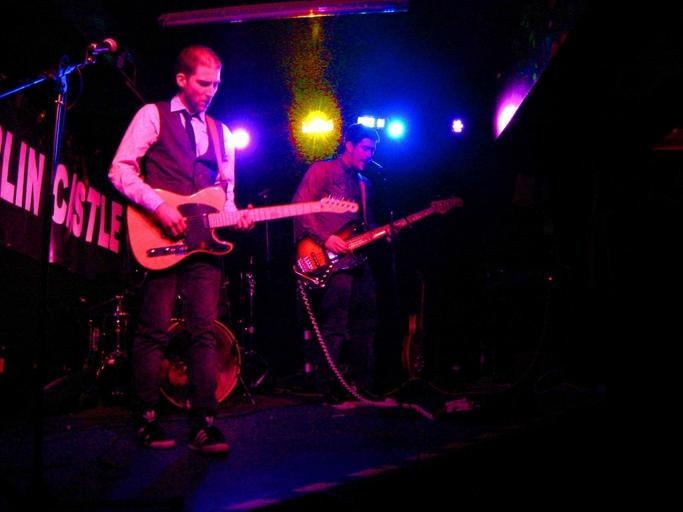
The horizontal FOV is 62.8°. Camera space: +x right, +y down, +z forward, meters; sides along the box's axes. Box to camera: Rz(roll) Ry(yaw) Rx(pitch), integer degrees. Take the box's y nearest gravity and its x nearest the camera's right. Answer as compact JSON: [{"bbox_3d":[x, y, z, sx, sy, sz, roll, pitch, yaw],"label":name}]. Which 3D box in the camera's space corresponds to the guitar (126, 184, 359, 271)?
[{"bbox_3d":[-0.700,-0.177,3.639,1.284,0.523,0.404,0,-1,-41],"label":"guitar"}]

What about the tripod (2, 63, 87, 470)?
[{"bbox_3d":[-1.598,-0.041,2.859,0.376,2.073,0.566,-1,-1,-1],"label":"tripod"}]

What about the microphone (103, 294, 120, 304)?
[{"bbox_3d":[-1.979,0.369,4.786,0.135,0.051,0.014,4,-59,-10],"label":"microphone"}]

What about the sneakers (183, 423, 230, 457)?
[{"bbox_3d":[-0.744,1.016,3.102,0.206,0.199,0.134,-21,-30,32],"label":"sneakers"}]

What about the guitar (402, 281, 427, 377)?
[{"bbox_3d":[0.770,0.758,5.757,0.190,0.944,0.466,-1,-1,29],"label":"guitar"}]

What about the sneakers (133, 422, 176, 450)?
[{"bbox_3d":[-1.077,1.020,3.194,0.240,0.129,0.115,-1,-1,24],"label":"sneakers"}]
